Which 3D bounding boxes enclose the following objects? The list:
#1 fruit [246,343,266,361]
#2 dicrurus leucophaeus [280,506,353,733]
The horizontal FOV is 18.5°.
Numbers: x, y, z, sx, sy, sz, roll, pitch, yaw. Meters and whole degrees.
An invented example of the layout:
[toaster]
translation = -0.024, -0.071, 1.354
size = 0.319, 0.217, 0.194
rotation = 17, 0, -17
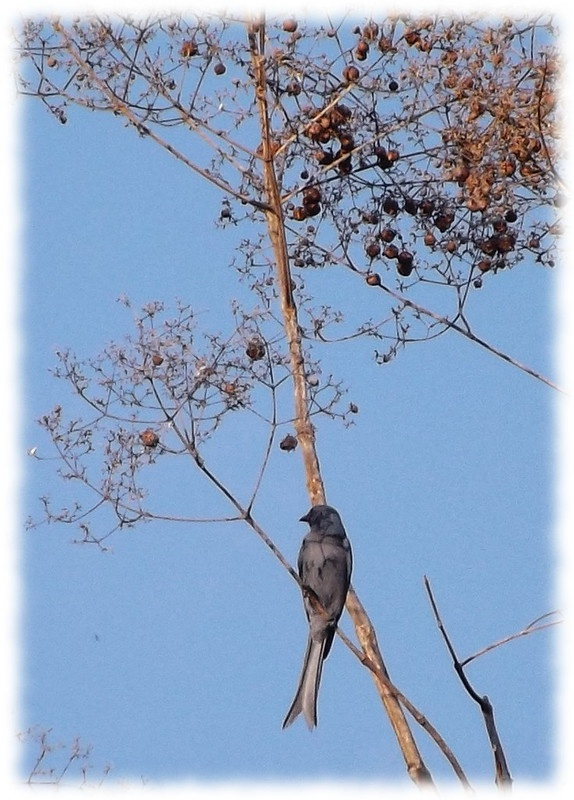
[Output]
[fruit]
translation = -0.124, -0.179, 7.038
size = 0.080, 0.253, 0.073
rotation = -4, -78, -1
[dicrurus leucophaeus]
translation = 0.145, 0.746, 6.807
size = 0.246, 0.299, 1.076
rotation = -3, -102, 29
